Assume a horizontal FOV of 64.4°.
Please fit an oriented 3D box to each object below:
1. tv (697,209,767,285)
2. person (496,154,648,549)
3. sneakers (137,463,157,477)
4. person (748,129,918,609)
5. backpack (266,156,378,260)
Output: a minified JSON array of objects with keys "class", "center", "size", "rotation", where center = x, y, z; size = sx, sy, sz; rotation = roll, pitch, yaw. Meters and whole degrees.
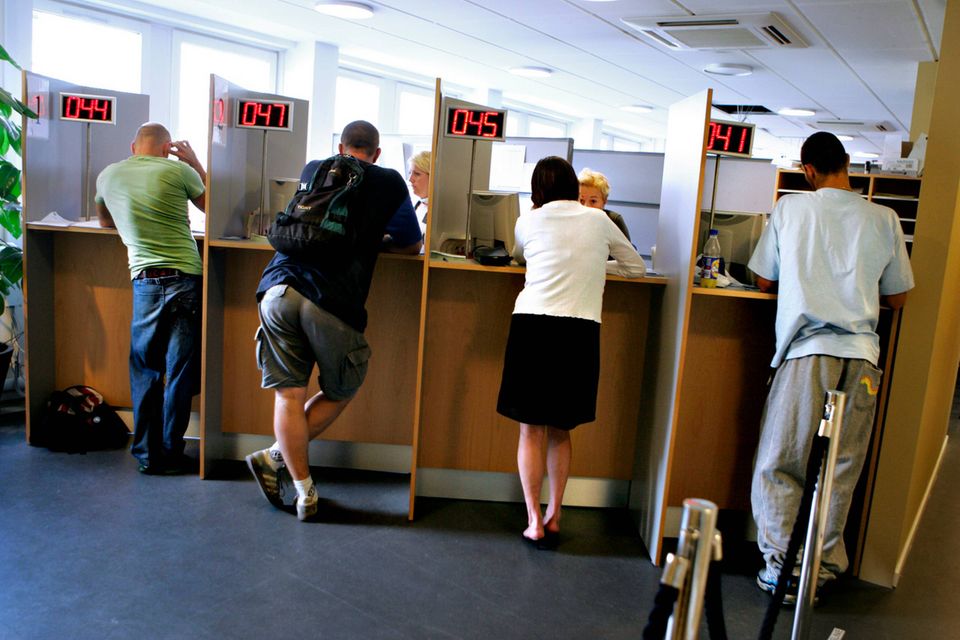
[{"class":"tv","center":[1.532,-0.438,4.616],"size":[0.344,0.626,0.350],"rotation":[11,18,41]},{"class":"person","center":[0.479,0.185,4.436],"size":[0.679,2.226,0.459],"rotation":[5,8,5]},{"class":"sneakers","center":[-2.128,0.951,4.852],"size":[0.063,0.081,0.122],"rotation":[4,11,-2]},{"class":"person","center":[1.842,0.388,4.231],"size":[0.812,2.230,0.482],"rotation":[9,10,28]},{"class":"backpack","center":[-0.898,-0.626,4.396],"size":[0.549,0.732,0.409],"rotation":[13,-4,35]}]
